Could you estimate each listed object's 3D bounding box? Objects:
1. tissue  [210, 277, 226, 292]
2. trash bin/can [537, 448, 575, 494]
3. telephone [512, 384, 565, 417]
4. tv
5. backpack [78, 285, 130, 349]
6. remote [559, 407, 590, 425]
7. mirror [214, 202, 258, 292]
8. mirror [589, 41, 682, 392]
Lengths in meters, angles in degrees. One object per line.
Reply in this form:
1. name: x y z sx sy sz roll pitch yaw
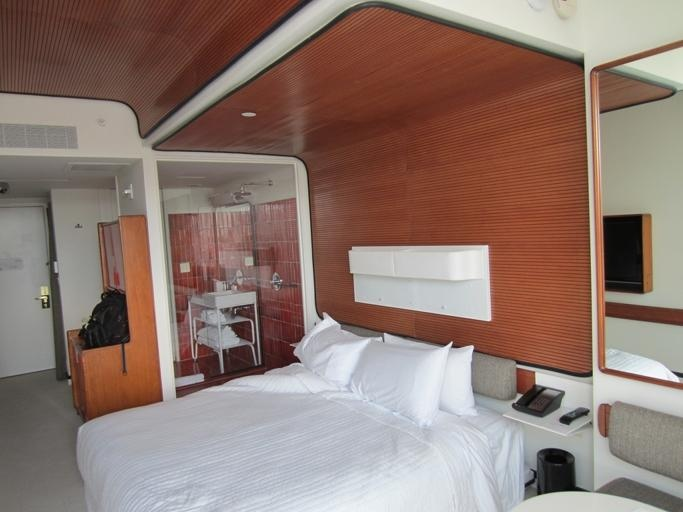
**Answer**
1. tissue : -1.492 0.327 5.667 0.255 0.190 0.164 -1 2 -34
2. trash bin/can: 1.476 1.490 3.149 0.241 0.269 0.254 1 11 23
3. telephone: 1.361 0.996 3.162 0.251 0.075 0.180 -11 9 -37
4. tv: 1.723 -0.016 2.755 0.064 0.475 0.302 -13 14 -36
5. backpack: -2.377 0.641 4.798 0.560 0.577 0.314 3 -23 22
6. remote: 1.532 1.032 3.021 0.286 0.042 0.081 -6 5 -36
7. mirror: -1.301 -0.116 5.685 0.476 1.019 0.272 -7 11 -14
8. mirror: 1.705 -0.223 2.729 0.544 1.951 0.344 5 15 40
